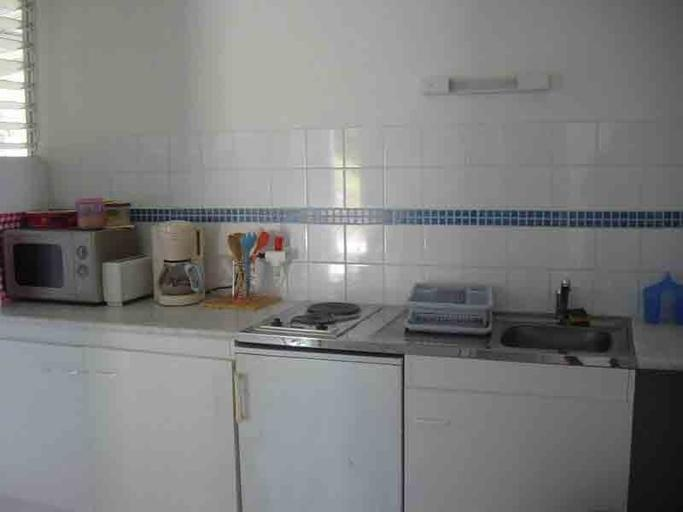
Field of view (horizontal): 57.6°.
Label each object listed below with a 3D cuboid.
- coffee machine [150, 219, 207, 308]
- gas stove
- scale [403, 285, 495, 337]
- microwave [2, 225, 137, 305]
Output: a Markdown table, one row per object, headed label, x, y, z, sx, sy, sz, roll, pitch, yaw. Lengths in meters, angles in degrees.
| label | x | y | z | sx | sy | sz | roll | pitch | yaw |
| --- | --- | --- | --- | --- | --- | --- | --- | --- | --- |
| coffee machine | -0.825 | 0.031 | 3.134 | 0.254 | 0.409 | 0.211 | -3 | 7 | -16 |
| gas stove | -0.131 | 0.263 | 2.710 | 0.455 | 0.135 | 0.519 | 3 | 8 | 20 |
| scale | 0.485 | 0.231 | 2.768 | 0.368 | 0.159 | 0.443 | 0 | 7 | 14 |
| microwave | -1.369 | 0.010 | 3.182 | 0.500 | 0.382 | 0.378 | 5 | 9 | 21 |
